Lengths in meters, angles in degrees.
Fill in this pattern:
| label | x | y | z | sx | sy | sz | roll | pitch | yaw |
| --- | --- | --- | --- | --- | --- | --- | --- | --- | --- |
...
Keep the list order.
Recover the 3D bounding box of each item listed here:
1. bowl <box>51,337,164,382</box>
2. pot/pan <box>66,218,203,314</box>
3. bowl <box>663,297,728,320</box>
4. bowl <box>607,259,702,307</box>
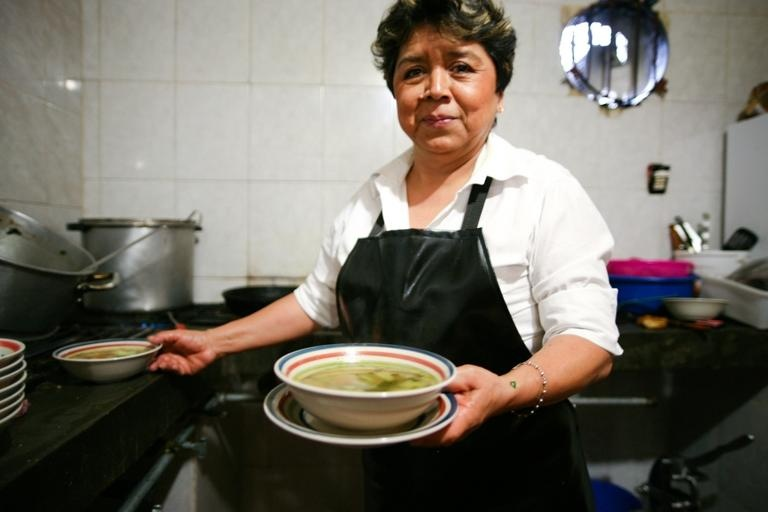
| label | x | y | z | sx | sy | sz | roll | pitch | yaw |
| --- | --- | --- | --- | --- | --- | --- | --- | --- | --- |
| bowl | -1.086 | 0.424 | 2.356 | 0.372 | 0.119 | 0.378 | 1 | 4 | 0 |
| pot/pan | -1.239 | 0.030 | 2.960 | 0.485 | 0.347 | 0.529 | 0 | 0 | 32 |
| bowl | 1.524 | 0.260 | 2.956 | 0.303 | 0.118 | 0.143 | 3 | 7 | 3 |
| bowl | 1.309 | 0.136 | 2.995 | 0.331 | 0.141 | 0.359 | 0 | -11 | 0 |
